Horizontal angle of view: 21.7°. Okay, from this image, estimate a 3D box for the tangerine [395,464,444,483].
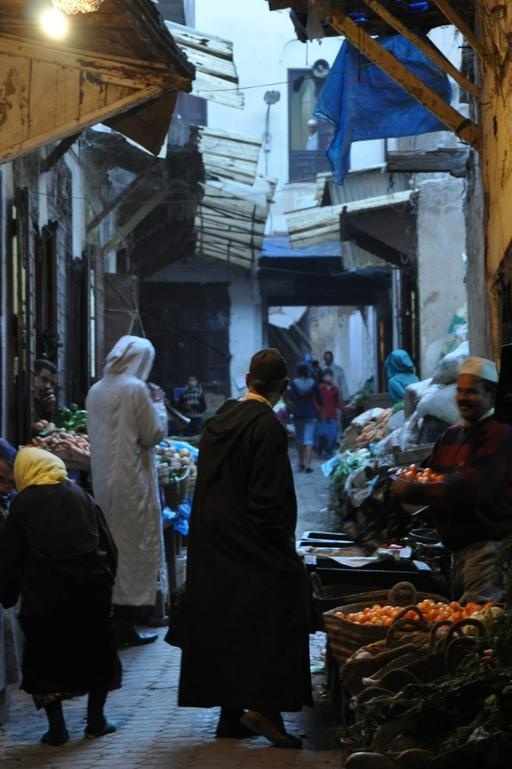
[{"bbox_3d":[0.737,0.422,6.138,0.109,0.036,0.098,5,0,35],"label":"tangerine"}]

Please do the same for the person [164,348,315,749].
[{"bbox_3d":[-0.106,0.661,5.971,0.639,1.279,0.651,-10,5,9],"label":"person"}]

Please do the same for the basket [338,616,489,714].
[{"bbox_3d":[0.558,1.010,5.265,0.768,0.329,0.620,-1,2,-14],"label":"basket"}]

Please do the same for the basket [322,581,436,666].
[{"bbox_3d":[0.523,1.017,5.733,0.463,0.447,0.453,-1,0,3],"label":"basket"}]
